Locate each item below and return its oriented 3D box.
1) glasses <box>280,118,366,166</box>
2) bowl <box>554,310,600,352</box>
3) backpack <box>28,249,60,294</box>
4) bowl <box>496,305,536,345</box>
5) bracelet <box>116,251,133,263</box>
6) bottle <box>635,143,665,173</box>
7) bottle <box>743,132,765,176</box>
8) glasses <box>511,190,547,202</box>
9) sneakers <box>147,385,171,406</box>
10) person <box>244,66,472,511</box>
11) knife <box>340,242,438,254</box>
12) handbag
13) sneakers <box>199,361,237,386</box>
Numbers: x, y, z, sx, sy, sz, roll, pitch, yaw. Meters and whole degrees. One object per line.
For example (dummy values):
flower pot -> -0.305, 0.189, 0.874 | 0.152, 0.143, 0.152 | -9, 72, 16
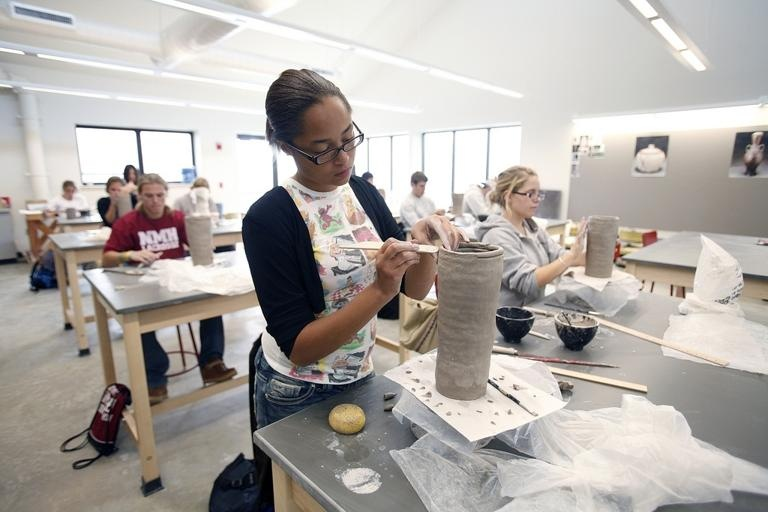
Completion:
glasses -> -0.270, -0.535, 2.246 | 0.387, 0.197, 0.169 | -5, 11, -17
bowl -> 1.052, 0.392, 2.587 | 0.194, 0.168, 0.211 | 1, 8, 0
backpack -> -4.552, 0.227, 6.335 | 0.506, 0.613, 0.269 | -1, -10, 2
bowl -> 0.726, 0.402, 2.646 | 0.227, 0.157, 0.228 | 2, 6, 0
bracelet -> -2.050, 0.004, 3.718 | 0.106, 0.098, 0.104 | 1, 13, 18
bottle -> 4.069, -1.462, 7.071 | 0.398, 0.455, 0.036 | 8, 15, 41
bottle -> 5.067, -1.387, 6.345 | 0.210, 0.579, 0.060 | 1, 12, 15
glasses -> 1.066, -0.464, 3.426 | 0.201, 0.060, 0.208 | -1, 13, -42
sneakers -> -1.738, 1.058, 3.598 | 0.109, 0.153, 0.323 | 0, -7, -24
person -> -0.236, 0.296, 2.384 | 0.975, 2.383, 0.634 | -5, 12, -14
knife -> 0.011, -0.039, 2.204 | 0.494, 0.065, 0.195 | 0, 11, 10
handbag -> -2.023, 1.180, 3.330 | 0.408, 0.642, 0.257 | 34, -2, 38
sneakers -> -1.340, 0.937, 3.734 | 0.373, 0.176, 0.135 | -5, 0, 11
